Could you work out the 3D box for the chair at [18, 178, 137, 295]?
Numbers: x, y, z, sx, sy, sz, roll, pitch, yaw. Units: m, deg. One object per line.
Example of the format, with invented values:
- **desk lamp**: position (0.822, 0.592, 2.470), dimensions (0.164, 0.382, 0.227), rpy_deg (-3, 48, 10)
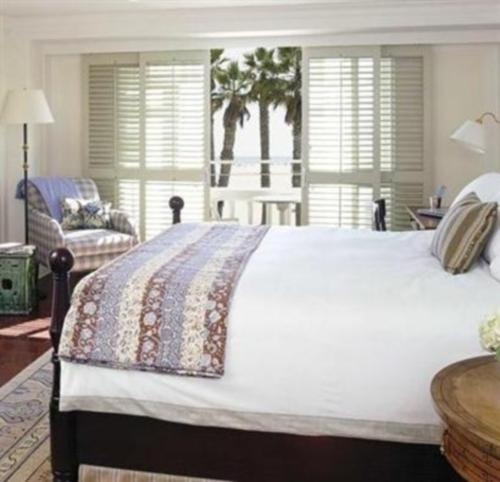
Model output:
- **chair**: position (-1.501, -0.070, 4.677), dimensions (0.963, 1.032, 0.999), rpy_deg (2, 6, 12)
